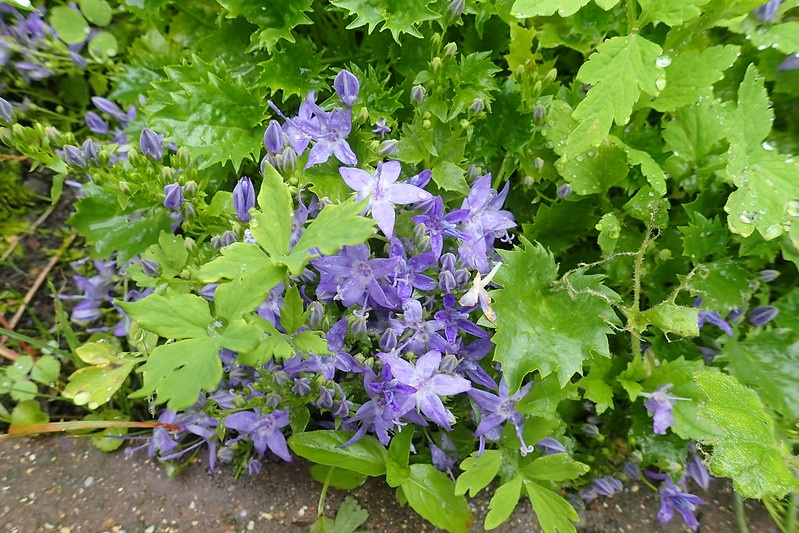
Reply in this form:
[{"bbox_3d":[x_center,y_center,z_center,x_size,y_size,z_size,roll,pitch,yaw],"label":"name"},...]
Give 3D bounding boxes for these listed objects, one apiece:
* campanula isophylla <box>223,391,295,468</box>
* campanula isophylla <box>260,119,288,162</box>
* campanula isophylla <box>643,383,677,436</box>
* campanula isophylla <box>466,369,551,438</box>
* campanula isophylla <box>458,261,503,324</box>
[{"bbox_3d":[-0.525,0.622,2.402,0.269,0.229,0.111,19,44,1],"label":"campanula isophylla"},{"bbox_3d":[-0.470,-0.472,2.340,0.093,0.240,0.088,-29,85,-5],"label":"campanula isophylla"},{"bbox_3d":[1.012,0.547,2.416,0.072,0.149,0.177,-17,92,-62],"label":"campanula isophylla"},{"bbox_3d":[0.383,0.538,2.347,0.253,0.166,0.141,2,46,-16],"label":"campanula isophylla"},{"bbox_3d":[0.303,0.077,2.257,0.082,0.200,0.185,23,2,-31],"label":"campanula isophylla"}]
